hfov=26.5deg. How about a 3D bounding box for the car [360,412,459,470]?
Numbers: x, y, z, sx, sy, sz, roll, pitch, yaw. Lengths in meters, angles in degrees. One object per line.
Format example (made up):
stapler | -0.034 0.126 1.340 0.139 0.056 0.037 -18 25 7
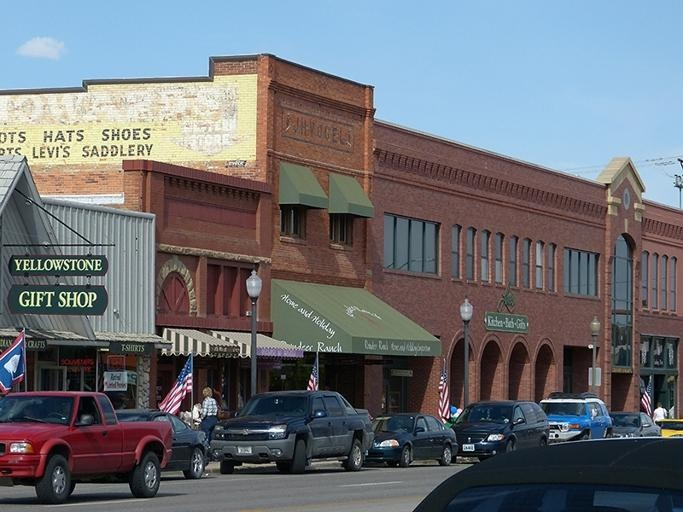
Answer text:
car | 2.197 5.689 44.834 2.047 1.868 1.928 -5 -11 20

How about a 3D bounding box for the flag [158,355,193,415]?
flag | -5.066 4.091 44.304 0.881 2.136 0.725 2 -9 -41
